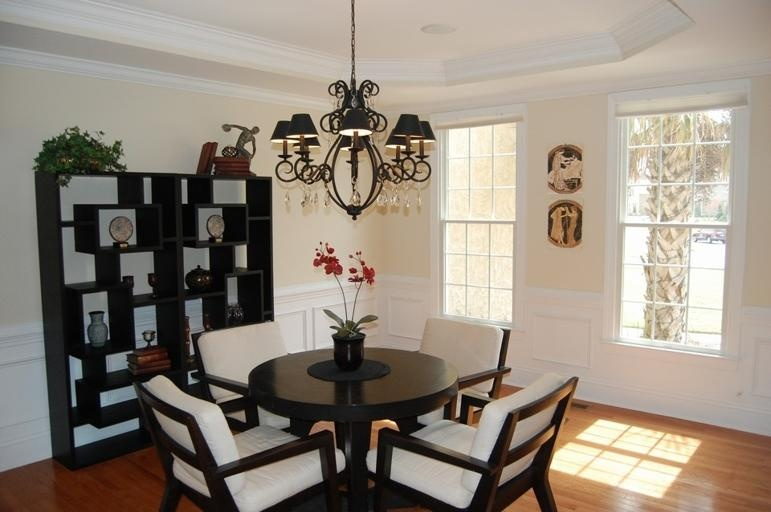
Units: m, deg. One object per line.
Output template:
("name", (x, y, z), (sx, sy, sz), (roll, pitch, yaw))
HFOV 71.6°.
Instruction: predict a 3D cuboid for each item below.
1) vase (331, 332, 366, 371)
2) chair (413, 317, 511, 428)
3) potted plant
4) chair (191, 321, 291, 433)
("vase", (-0.253, 0.729, 4.166), (0.269, 0.243, 0.274), (0, 0, 13))
("chair", (0.657, 0.988, 4.811), (0.785, 0.958, 0.847), (2, 0, 45))
("potted plant", (-2.651, -0.828, 4.618), (0.627, 0.434, 0.638), (-5, 0, 33))
("chair", (-1.232, 0.997, 4.788), (0.735, 0.882, 0.867), (-4, 4, -44))
